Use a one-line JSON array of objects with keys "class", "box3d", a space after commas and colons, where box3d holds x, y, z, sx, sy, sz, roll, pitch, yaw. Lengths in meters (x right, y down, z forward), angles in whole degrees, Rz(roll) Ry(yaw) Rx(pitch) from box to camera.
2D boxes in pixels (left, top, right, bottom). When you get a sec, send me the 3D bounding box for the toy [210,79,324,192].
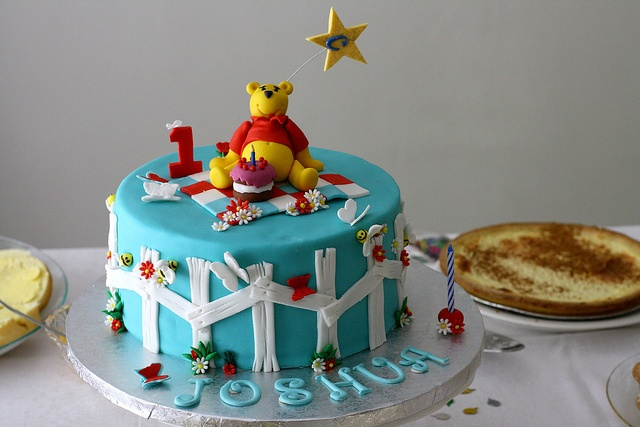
[{"class": "toy", "box3d": [-0.356, -0.513, 4.637, 0.798, 0.740, 0.504, 1, 13, 2]}]
